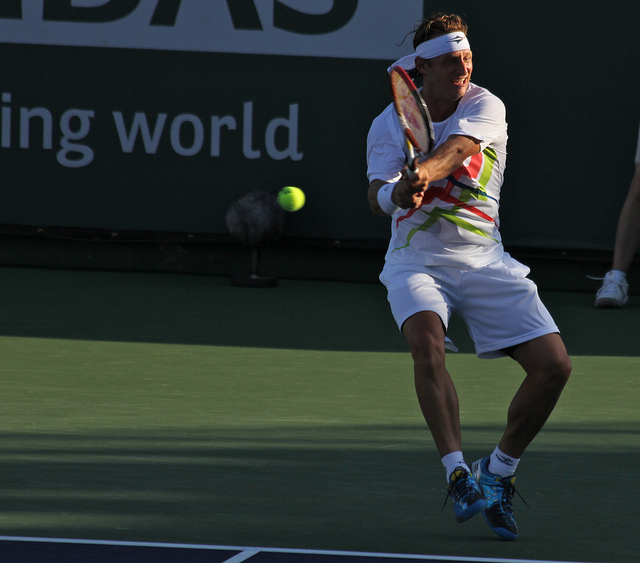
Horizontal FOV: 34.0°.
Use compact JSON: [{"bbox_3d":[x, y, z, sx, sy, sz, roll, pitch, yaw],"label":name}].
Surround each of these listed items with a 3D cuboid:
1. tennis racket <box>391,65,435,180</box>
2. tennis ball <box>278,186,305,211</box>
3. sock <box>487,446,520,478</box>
[{"bbox_3d":[0.309,-0.518,3.463,0.046,0.174,0.487,-19,27,-7],"label":"tennis racket"},{"bbox_3d":[-0.204,-0.598,7.588,0.174,0.178,0.266,2,10,4],"label":"tennis ball"},{"bbox_3d":[0.588,0.583,3.371,0.095,0.084,0.059,5,12,21],"label":"sock"}]
